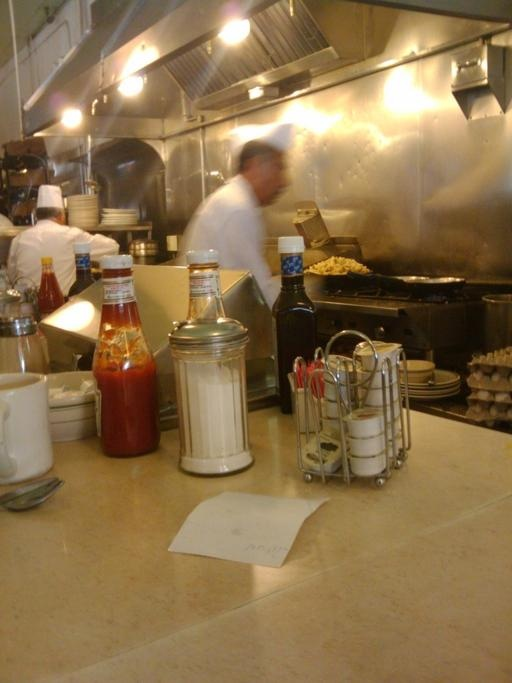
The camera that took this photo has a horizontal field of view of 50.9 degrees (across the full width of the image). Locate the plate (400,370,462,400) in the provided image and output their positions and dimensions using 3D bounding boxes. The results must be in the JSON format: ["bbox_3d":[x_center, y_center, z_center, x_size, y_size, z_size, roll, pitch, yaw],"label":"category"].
[{"bbox_3d":[0.537,0.127,1.595,0.134,0.064,0.262,2,9,30],"label":"plate"}]

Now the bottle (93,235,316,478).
[{"bbox_3d":[-0.109,0.008,1.041,0.332,0.588,0.326,-1,3,0],"label":"bottle"}]

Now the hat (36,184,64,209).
[{"bbox_3d":[-1.700,-1.154,4.336,0.195,0.185,0.254,2,10,0],"label":"hat"}]

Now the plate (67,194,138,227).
[{"bbox_3d":[-1.564,-1.257,5.377,0.573,0.249,0.346,-5,10,-29],"label":"plate"}]
